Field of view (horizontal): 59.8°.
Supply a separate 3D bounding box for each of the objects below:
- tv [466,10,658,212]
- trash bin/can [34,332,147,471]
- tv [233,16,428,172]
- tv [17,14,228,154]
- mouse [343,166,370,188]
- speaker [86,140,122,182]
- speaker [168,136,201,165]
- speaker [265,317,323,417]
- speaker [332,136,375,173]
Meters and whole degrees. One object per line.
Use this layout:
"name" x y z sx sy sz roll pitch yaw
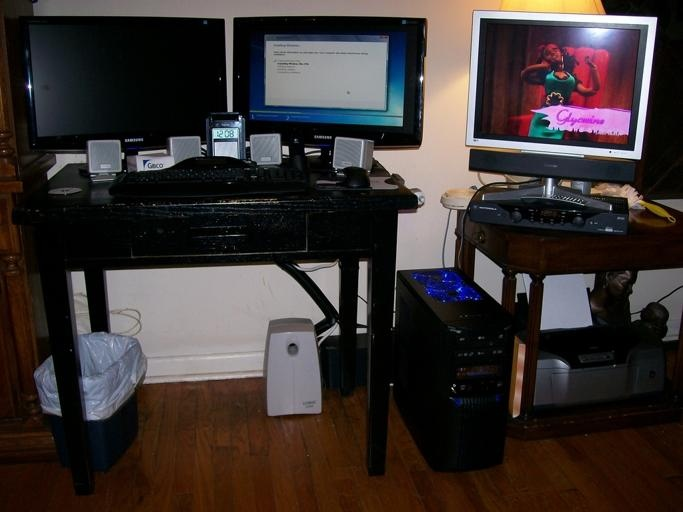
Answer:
"tv" 0.821 -0.558 2.257 0.689 0.825 0.262 7 16 9
"trash bin/can" -0.957 0.571 2.317 0.294 0.420 0.419 6 15 5
"tv" -0.060 -0.645 2.307 0.572 0.435 0.177 3 14 4
"tv" -0.846 -0.646 2.231 0.520 0.388 0.147 -2 11 -16
"mouse" 0.048 -0.280 2.079 0.055 0.032 0.106 0 21 -10
"speaker" -0.870 -0.335 2.201 0.111 0.168 0.086 -3 -24 -17
"speaker" -0.592 -0.392 2.222 0.104 0.101 0.034 -12 13 -37
"speaker" -0.211 0.456 2.587 0.262 0.404 0.248 -4 13 -16
"speaker" 0.034 -0.385 2.272 0.130 0.119 0.068 6 -2 14
